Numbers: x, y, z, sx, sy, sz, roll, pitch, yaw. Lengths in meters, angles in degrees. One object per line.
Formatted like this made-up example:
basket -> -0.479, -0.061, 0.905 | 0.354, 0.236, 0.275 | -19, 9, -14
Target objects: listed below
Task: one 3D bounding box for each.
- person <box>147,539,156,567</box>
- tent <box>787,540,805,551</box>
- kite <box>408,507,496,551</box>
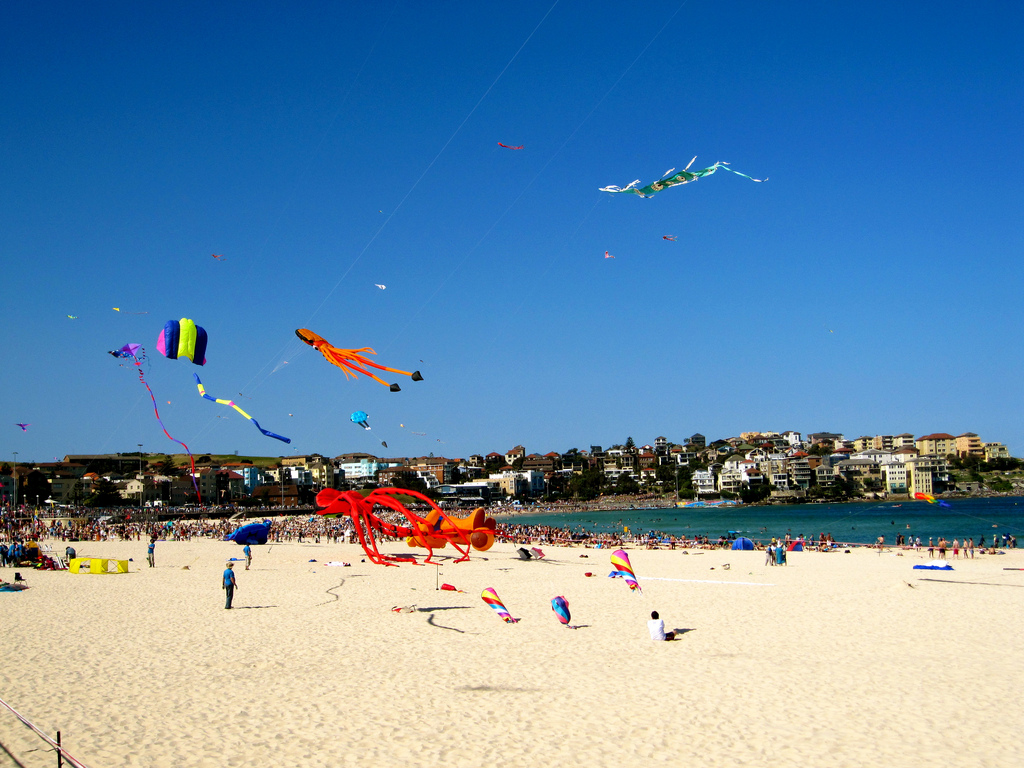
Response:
person -> -12.095, 5.708, 35.616 | 0.204, 0.836, 0.721 | -1, -3, -16
tent -> 12.050, 6.889, 45.026 | 0.626, 0.292, 0.853 | 7, 2, 26
kite -> -1.714, 4.018, 29.283 | 2.065, 0.654, 1.390 | -2, -2, 5
